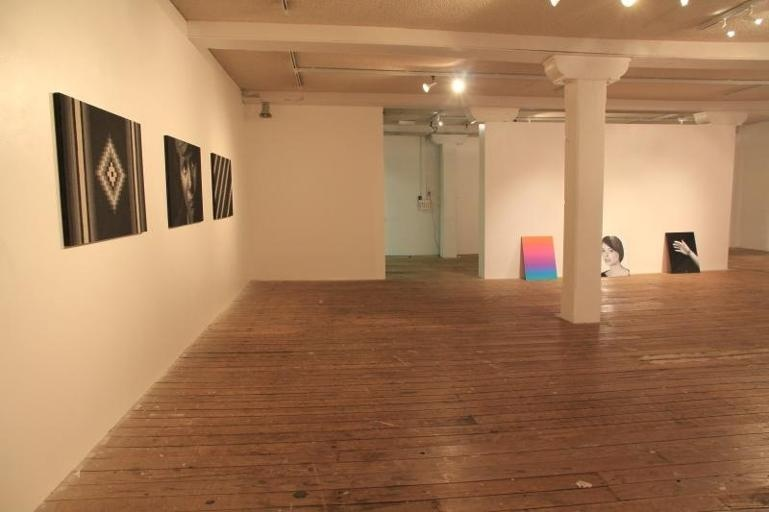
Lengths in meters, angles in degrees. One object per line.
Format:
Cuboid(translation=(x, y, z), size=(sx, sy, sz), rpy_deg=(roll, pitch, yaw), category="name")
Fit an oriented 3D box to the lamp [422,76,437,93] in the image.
Cuboid(translation=(0.855, -3.052, 9.300), size=(0.317, 0.077, 0.231), rpy_deg=(-30, 50, -32), category="lamp")
